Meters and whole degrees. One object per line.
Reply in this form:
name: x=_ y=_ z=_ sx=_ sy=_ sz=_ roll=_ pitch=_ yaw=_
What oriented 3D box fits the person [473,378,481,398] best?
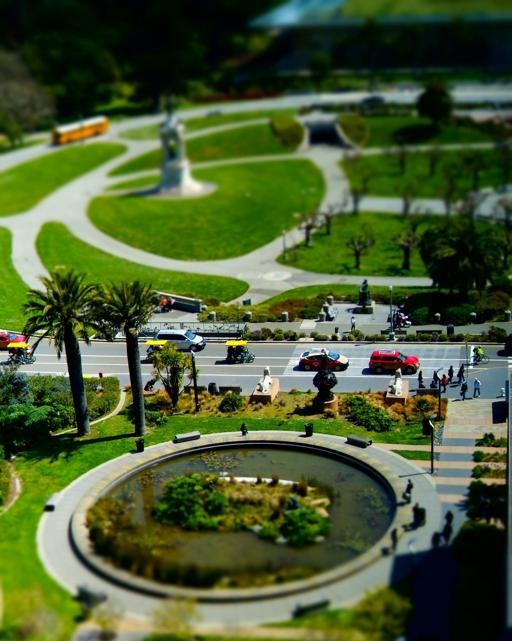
person: x=13.613 y=4.008 z=50.305 sx=0.471 sy=1.066 sz=1.417 roll=-2 pitch=17 yaw=14

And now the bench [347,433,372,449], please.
bench: x=5.465 y=6.509 z=43.957 sx=1.054 sy=0.269 sz=0.608 roll=8 pitch=15 yaw=31

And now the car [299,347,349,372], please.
car: x=4.697 y=2.606 z=56.698 sx=3.198 sy=1.030 sz=1.682 roll=-2 pitch=24 yaw=3

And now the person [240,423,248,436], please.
person: x=-0.739 y=6.131 z=45.951 sx=0.433 sy=0.784 sz=0.511 roll=-1 pitch=47 yaw=2

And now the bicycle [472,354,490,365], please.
bicycle: x=15.192 y=2.617 z=55.080 sx=1.061 sy=0.561 sz=0.505 roll=-10 pitch=20 yaw=4

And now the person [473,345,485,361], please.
person: x=15.140 y=2.264 z=55.116 sx=0.769 sy=1.080 sz=0.581 roll=10 pitch=40 yaw=-4

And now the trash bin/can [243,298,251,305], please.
trash bin/can: x=-0.867 y=-1.628 z=70.914 sx=0.575 sy=0.496 sz=0.964 roll=-17 pitch=-12 yaw=-1

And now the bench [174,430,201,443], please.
bench: x=-3.897 y=6.463 z=45.126 sx=1.044 sy=0.263 sz=0.643 roll=-7 pitch=14 yaw=-19

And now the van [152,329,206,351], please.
van: x=-5.749 y=1.439 z=61.728 sx=3.265 sy=1.135 sz=1.683 roll=0 pitch=18 yaw=0

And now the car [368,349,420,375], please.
car: x=9.361 y=2.798 z=55.427 sx=3.247 sy=1.088 sz=1.498 roll=0 pitch=29 yaw=6
